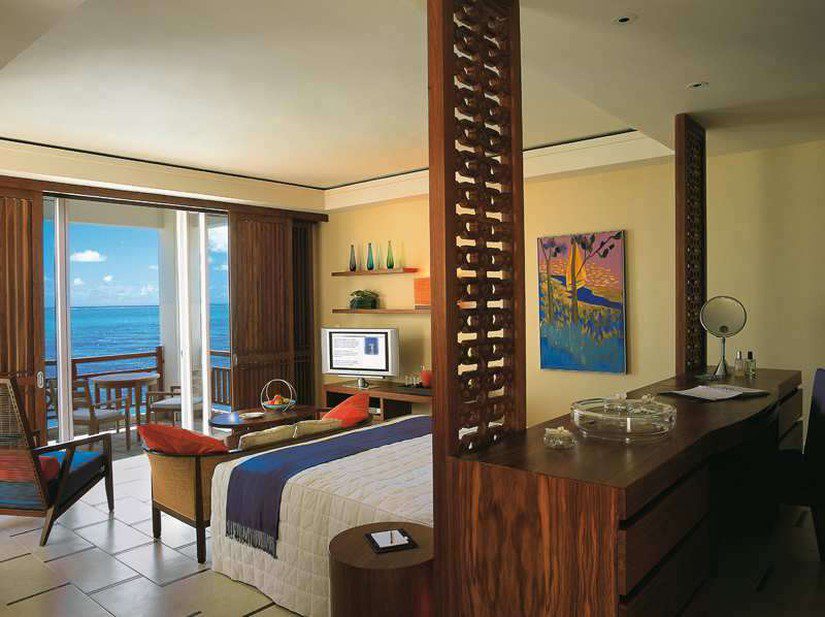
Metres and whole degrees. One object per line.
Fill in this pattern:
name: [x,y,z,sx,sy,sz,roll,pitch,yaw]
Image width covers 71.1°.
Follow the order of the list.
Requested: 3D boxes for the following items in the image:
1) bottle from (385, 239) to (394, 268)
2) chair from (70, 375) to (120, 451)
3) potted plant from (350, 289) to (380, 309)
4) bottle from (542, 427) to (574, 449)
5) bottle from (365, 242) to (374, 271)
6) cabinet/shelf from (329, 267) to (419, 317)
bottle: [-0.284,-0.696,7.324,0.094,0.332,0.185,-3,6,-2]
chair: [-3.552,1.099,6.343,0.562,0.610,0.530,17,-11,-42]
potted plant: [-0.633,-0.117,7.529,0.304,0.212,0.272,0,-2,8]
bottle: [0.608,0.533,2.428,0.079,0.052,0.099,0,1,2]
bottle: [-0.556,-0.695,7.536,0.103,0.341,0.193,-3,6,-5]
cabinet/shelf: [-0.416,-0.225,7.414,1.631,0.620,0.314,3,8,40]
